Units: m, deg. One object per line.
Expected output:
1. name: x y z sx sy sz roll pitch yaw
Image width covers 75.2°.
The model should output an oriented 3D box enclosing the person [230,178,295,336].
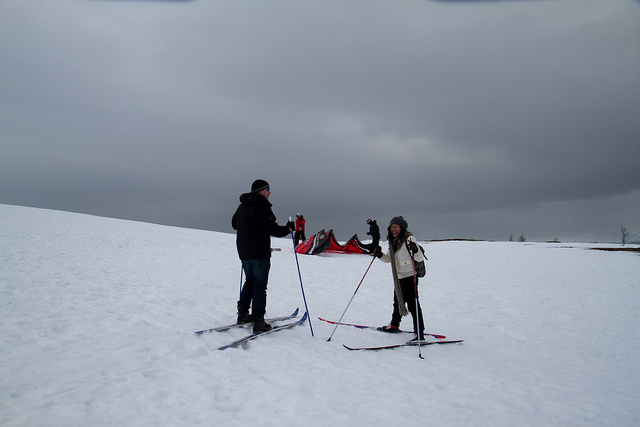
1. person: -1.384 0.950 9.235 1.248 3.359 0.623 1 -3 32

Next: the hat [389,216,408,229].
1. hat: 1.780 0.196 9.327 0.328 0.259 0.551 2 -3 7

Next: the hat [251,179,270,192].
1. hat: -1.320 -0.615 9.084 0.321 0.252 0.316 3 -3 -2

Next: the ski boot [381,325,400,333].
1. ski boot: 1.695 2.773 10.069 0.435 0.209 0.164 8 0 18

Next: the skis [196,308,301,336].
1. skis: -1.713 2.522 9.619 2.470 0.292 0.252 -8 24 -24

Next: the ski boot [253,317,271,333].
1. ski boot: -1.293 2.444 9.110 0.174 0.310 0.441 2 5 40
